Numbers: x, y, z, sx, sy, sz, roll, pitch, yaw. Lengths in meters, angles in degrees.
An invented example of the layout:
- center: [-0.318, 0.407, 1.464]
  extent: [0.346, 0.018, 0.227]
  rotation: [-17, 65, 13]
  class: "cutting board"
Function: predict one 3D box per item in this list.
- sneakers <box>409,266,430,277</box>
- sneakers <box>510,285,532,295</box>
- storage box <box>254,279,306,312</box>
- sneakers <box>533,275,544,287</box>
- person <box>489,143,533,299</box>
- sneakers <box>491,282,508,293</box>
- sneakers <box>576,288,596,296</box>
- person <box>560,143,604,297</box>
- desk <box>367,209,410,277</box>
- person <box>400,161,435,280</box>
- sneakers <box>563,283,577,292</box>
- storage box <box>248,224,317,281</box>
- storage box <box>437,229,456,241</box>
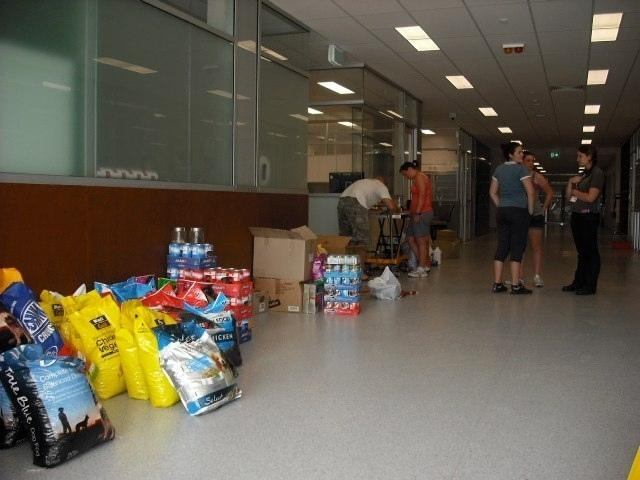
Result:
- center: [1.669, 0.543, 7.762]
  extent: [0.397, 0.185, 0.140]
  rotation: [1, -1, -7]
  class: "sneakers"
- center: [2.756, 0.672, 6.254]
  extent: [0.336, 0.156, 0.116]
  rotation: [-1, 1, -4]
  class: "sneakers"
- center: [-0.476, 0.636, 5.444]
  extent: [0.660, 0.397, 0.540]
  rotation: [-1, 1, 14]
  class: "storage box"
- center: [3.256, 0.604, 6.863]
  extent: [0.140, 0.128, 0.290]
  rotation: [-2, 1, 10]
  class: "sneakers"
- center: [2.599, -0.285, 6.219]
  extent: [0.570, 2.042, 0.569]
  rotation: [-2, 4, 21]
  class: "person"
- center: [2.487, 0.660, 6.439]
  extent: [0.308, 0.135, 0.103]
  rotation: [-2, 6, -33]
  class: "sneakers"
- center: [3.546, 0.678, 6.179]
  extent: [0.261, 0.122, 0.099]
  rotation: [4, -1, -6]
  class: "sneakers"
- center: [3.645, -0.306, 6.366]
  extent: [0.495, 2.043, 1.094]
  rotation: [-1, 5, 31]
  class: "person"
- center: [1.111, 0.053, 8.058]
  extent: [0.550, 0.913, 0.980]
  rotation: [-11, -7, 4]
  class: "desk"
- center: [1.645, -0.357, 7.718]
  extent: [0.464, 1.930, 0.612]
  rotation: [-3, 4, 13]
  class: "person"
- center: [3.491, 0.660, 6.436]
  extent: [0.173, 0.183, 0.087]
  rotation: [2, -1, 32]
  class: "sneakers"
- center: [-0.408, 0.152, 5.423]
  extent: [0.654, 0.621, 0.419]
  rotation: [5, 9, 19]
  class: "storage box"
- center: [4.044, -0.149, 14.619]
  extent: [0.596, 0.345, 0.385]
  rotation: [-3, 4, 15]
  class: "storage box"
